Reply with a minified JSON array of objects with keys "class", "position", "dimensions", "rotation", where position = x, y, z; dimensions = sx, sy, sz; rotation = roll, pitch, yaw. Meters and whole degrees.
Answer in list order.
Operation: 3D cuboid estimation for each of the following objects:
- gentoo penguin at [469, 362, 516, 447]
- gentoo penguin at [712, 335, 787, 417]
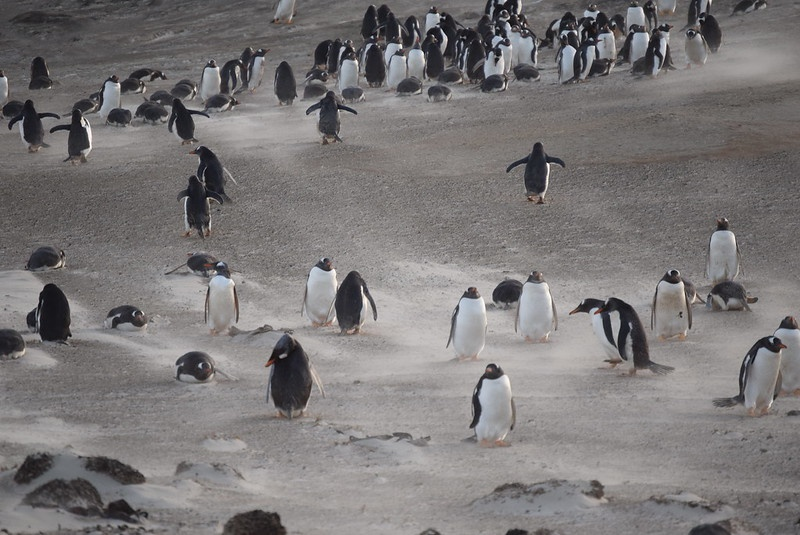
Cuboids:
[{"class":"gentoo penguin","position":[1.221,1.796,14.526],"dimensions":[0.608,1.035,0.346],"rotation":[-2,10,2]},{"class":"gentoo penguin","position":[4.780,1.441,14.898],"dimensions":[0.902,1.024,0.435],"rotation":[0,10,10]}]
